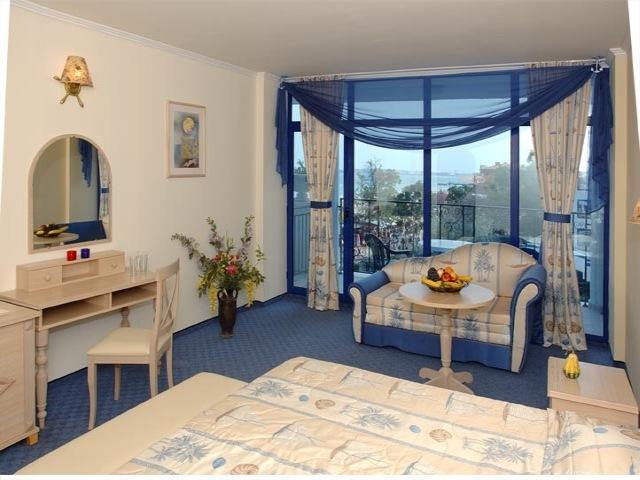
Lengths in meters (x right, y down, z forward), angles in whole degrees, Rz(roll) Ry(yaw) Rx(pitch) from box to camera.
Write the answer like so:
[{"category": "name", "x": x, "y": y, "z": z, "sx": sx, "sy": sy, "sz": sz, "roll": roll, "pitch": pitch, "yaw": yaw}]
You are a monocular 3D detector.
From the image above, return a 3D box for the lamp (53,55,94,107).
[{"category": "lamp", "x": -2.069, "y": -1.339, "z": 3.822, "sx": 0.230, "sy": 0.392, "sz": 0.221, "roll": 5, "pitch": 8, "yaw": -18}]

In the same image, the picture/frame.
[{"category": "picture/frame", "x": -1.445, "y": -1.079, "z": 4.918, "sx": 0.075, "sy": 0.783, "sz": 0.520, "roll": 3, "pitch": 7, "yaw": 27}]

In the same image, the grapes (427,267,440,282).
[{"category": "grapes", "x": 1.024, "y": 0.308, "z": 4.055, "sx": 0.114, "sy": 0.116, "sz": 0.102, "roll": 6, "pitch": -5, "yaw": -24}]

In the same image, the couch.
[{"category": "couch", "x": 1.375, "y": 0.621, "z": 4.854, "sx": 1.907, "sy": 1.162, "sz": 1.008, "roll": 3, "pitch": 3, "yaw": 32}]

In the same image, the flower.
[{"category": "flower", "x": -1.033, "y": 0.272, "z": 5.298, "sx": 0.716, "sy": 1.063, "sz": 1.219, "roll": 2, "pitch": 6, "yaw": 21}]

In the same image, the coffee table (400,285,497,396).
[{"category": "coffee table", "x": 1.099, "y": 0.888, "z": 3.954, "sx": 0.705, "sy": 0.816, "sz": 0.689, "roll": 2, "pitch": -4, "yaw": -35}]

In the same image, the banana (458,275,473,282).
[{"category": "banana", "x": 1.350, "y": 0.358, "z": 4.224, "sx": 0.095, "sy": 0.025, "sz": 0.101, "roll": 2, "pitch": 4, "yaw": 19}]

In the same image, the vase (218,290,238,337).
[{"category": "vase", "x": -1.046, "y": 0.789, "z": 5.087, "sx": 0.184, "sy": 0.510, "sz": 0.248, "roll": -2, "pitch": 6, "yaw": -15}]
